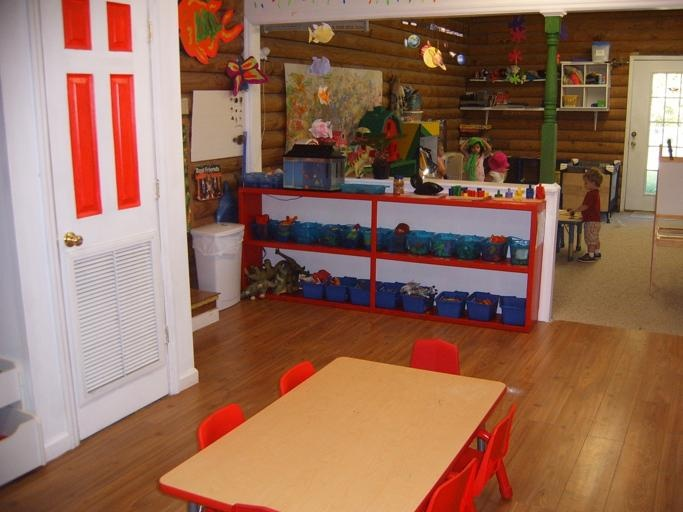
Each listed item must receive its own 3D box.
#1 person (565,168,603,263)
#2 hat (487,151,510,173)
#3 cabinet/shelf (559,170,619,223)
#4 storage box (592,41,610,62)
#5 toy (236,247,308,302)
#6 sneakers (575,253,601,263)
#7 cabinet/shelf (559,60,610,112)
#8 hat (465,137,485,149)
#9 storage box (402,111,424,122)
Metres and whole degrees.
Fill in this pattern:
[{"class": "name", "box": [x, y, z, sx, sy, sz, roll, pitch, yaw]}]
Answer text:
[{"class": "person", "box": [3.596, -0.573, 7.450, 0.414, 1.310, 0.501, 7, 17, 31]}, {"class": "hat", "box": [2.086, -1.218, 6.832, 0.255, 0.283, 0.339, 2, 15, 15]}, {"class": "cabinet/shelf", "box": [4.856, -1.237, 10.053, 1.031, 1.386, 1.436, 4, 9, 31]}, {"class": "storage box", "box": [5.112, -3.977, 10.074, 0.330, 0.438, 0.463, 5, 16, 26]}, {"class": "toy", "box": [-0.796, 0.262, 6.079, 0.721, 0.329, 0.517, -13, 24, -34]}, {"class": "sneakers", "box": [3.642, 0.034, 7.540, 0.362, 0.158, 0.138, 0, 10, 18]}, {"class": "cabinet/shelf", "box": [4.885, -3.368, 10.195, 0.946, 0.944, 0.345, 5, 10, 31]}, {"class": "hat", "box": [1.826, -1.522, 6.983, 0.153, 0.075, 0.203, -3, 4, 0]}, {"class": "storage box", "box": [1.181, -2.285, 8.432, 0.573, 0.173, 0.195, -14, 19, -39]}]
